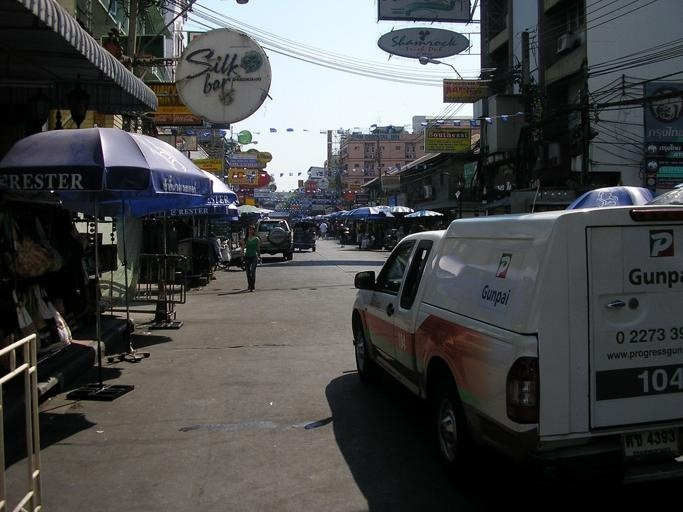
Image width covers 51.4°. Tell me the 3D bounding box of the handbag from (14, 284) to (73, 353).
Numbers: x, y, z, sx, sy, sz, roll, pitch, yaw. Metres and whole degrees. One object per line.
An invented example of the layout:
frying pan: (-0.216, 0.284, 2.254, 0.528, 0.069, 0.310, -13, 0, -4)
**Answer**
handbag: (-3.363, 0.684, 7.967, 0.405, 0.973, 0.815, -15, 8, -15)

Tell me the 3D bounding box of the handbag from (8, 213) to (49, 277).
handbag: (-3.381, -0.105, 7.677, 0.216, 0.630, 0.427, 6, 9, 40)

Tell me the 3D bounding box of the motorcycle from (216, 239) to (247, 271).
motorcycle: (-4.264, -0.012, 27.427, 1.529, 1.071, 1.133, 4, -5, -11)
